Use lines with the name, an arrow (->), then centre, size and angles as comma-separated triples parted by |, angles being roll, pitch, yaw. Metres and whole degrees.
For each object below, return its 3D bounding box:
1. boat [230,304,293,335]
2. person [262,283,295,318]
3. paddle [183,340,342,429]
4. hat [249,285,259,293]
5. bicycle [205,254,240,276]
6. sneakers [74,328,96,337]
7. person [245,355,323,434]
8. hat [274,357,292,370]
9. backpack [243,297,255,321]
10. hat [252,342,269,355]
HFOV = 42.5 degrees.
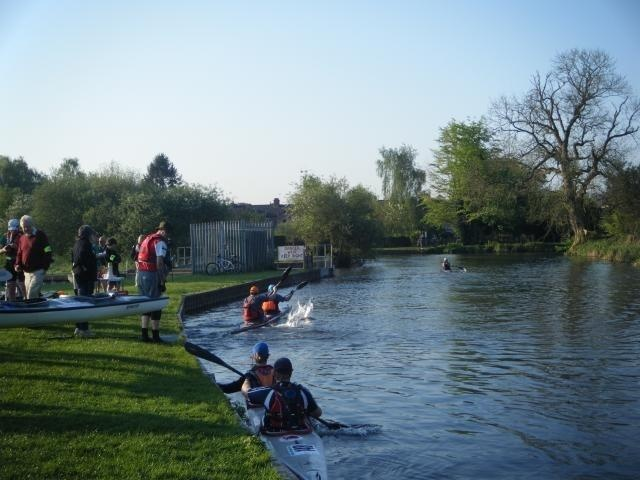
boat -> -1.756, 2.596, 26.260 | 0.527, 0.305, 2.857 | 4, 9, 22
person -> -1.569, 2.178, 27.111 | 0.736, 1.091, 0.472 | 8, -46, -2
paddle -> -1.255, 3.205, 17.789 | 3.480, 0.644, 0.446 | 25, 6, 38
hat -> -2.400, 1.794, 29.796 | 0.268, 0.264, 0.419 | 11, 10, 2
bicycle -> -5.208, 1.368, 43.767 | 1.626, 1.148, 0.862 | 0, 2, -7
sneakers -> -6.061, 2.423, 21.094 | 0.556, 0.273, 0.217 | 3, 6, -8
person -> -0.733, 3.193, 16.591 | 0.995, 1.048, 2.180 | -1, -42, -11
hat -> -0.709, 2.448, 15.812 | 0.325, 0.288, 0.201 | -3, -5, 3
backpack -> -2.247, 2.220, 26.150 | 0.307, 0.831, 0.501 | -2, -5, -2
hat -> -1.195, 2.242, 16.675 | 0.203, 0.280, 0.276 | 3, 12, 0
